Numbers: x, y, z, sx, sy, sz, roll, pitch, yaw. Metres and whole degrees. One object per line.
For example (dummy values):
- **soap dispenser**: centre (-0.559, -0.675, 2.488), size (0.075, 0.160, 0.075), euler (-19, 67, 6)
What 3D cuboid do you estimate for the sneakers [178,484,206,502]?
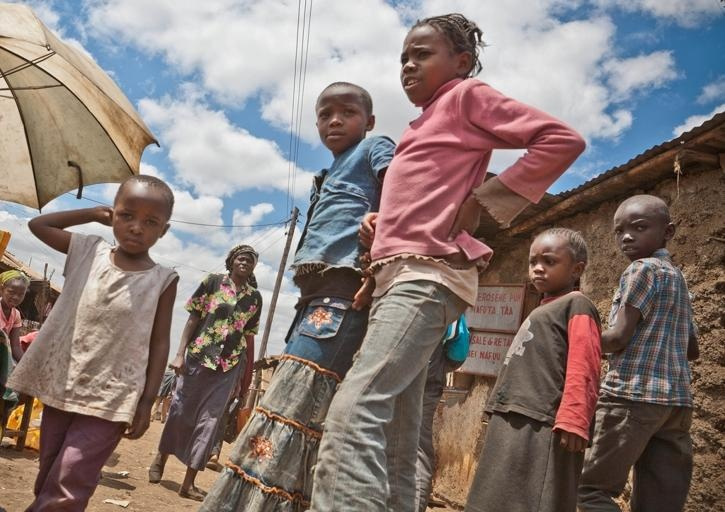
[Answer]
- **sneakers**: centre (-1.840, 2.530, 6.197), size (0.266, 0.147, 0.430), euler (20, -26, -7)
